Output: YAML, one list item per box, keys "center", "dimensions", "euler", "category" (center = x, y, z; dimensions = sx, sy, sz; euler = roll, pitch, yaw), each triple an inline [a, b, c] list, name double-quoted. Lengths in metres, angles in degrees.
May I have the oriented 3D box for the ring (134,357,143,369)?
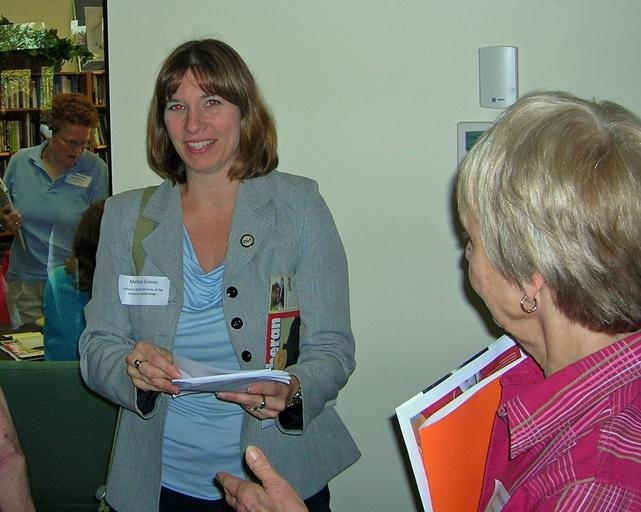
- center: [-0.527, 0.309, 1.639]
  dimensions: [0.030, 0.031, 0.018]
  euler: [-9, 23, -20]
  category: "ring"

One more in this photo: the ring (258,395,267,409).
- center: [-0.161, 0.408, 1.583]
  dimensions: [0.012, 0.033, 0.023]
  euler: [9, -7, -19]
  category: "ring"

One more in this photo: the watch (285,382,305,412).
- center: [-0.072, 0.414, 1.669]
  dimensions: [0.049, 0.066, 0.057]
  euler: [-6, 54, -4]
  category: "watch"
